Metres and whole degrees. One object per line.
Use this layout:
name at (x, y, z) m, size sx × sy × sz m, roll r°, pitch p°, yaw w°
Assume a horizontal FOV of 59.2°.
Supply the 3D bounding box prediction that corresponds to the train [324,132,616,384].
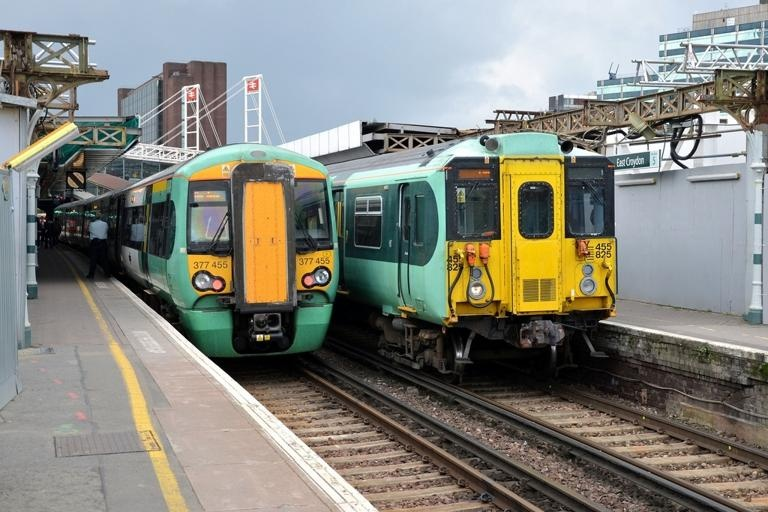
train at (1.588, -0.007, 14.048) m, size 5.592 × 4.905 × 2.915 m, roll 6°, pitch 8°, yaw 43°
